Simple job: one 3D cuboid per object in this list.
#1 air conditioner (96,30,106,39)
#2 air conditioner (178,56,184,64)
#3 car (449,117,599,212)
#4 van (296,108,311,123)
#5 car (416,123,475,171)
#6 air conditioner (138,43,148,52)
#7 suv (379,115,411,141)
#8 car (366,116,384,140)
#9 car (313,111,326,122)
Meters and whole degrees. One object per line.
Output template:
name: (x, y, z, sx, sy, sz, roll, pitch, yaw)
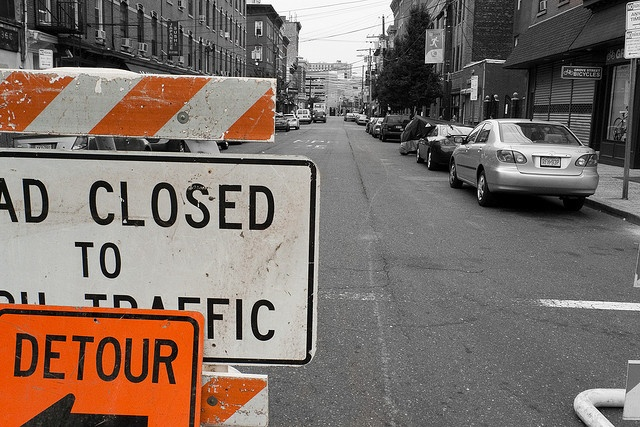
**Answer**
air conditioner: (-10.254, -8.340, 30.911, 0.263, 0.395, 0.554, 6, 12, 25)
air conditioner: (-9.151, -10.056, 43.264, 0.291, 0.599, 0.567, 0, -4, -4)
car: (3.824, -1.117, 13.464, 1.335, 1.208, 3.162, 1, 13, -3)
van: (-2.236, -13.308, 91.192, 1.310, 1.203, 2.529, 1, 19, 5)
car: (3.868, -2.157, 21.288, 0.958, 0.865, 2.465, 0, 16, -2)
air conditioner: (-9.857, -9.199, 36.642, 0.471, 0.694, 0.220, -5, 28, -23)
suv: (4.538, -5.173, 40.687, 1.177, 1.658, 2.087, -6, 13, -33)
car: (4.177, -6.570, 50.481, 1.012, 1.030, 2.632, 0, 20, 1)
car: (-0.126, -15.398, 105.310, 1.296, 1.253, 2.276, -1, 3, 2)
